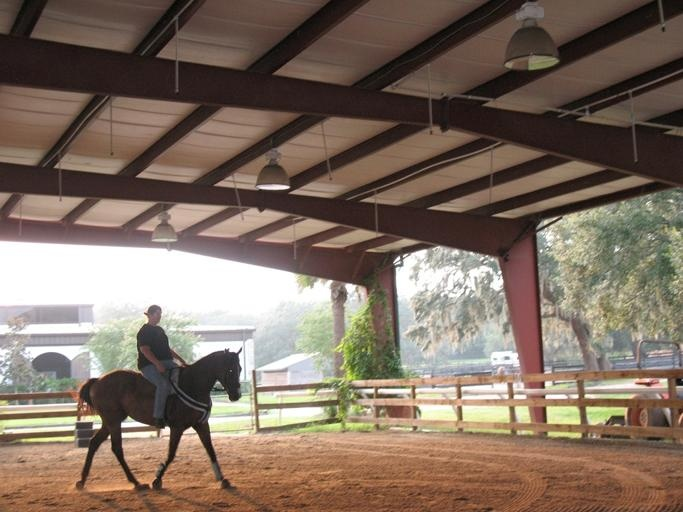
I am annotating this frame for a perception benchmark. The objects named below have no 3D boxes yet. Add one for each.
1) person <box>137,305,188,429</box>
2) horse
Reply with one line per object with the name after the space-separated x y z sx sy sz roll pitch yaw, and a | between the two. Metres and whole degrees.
-2.907 1.747 10.642 0.798 1.940 0.627 4 -12 -30 | person
-2.993 2.643 10.810 2.942 2.376 0.751 -2 -2 7 | horse
